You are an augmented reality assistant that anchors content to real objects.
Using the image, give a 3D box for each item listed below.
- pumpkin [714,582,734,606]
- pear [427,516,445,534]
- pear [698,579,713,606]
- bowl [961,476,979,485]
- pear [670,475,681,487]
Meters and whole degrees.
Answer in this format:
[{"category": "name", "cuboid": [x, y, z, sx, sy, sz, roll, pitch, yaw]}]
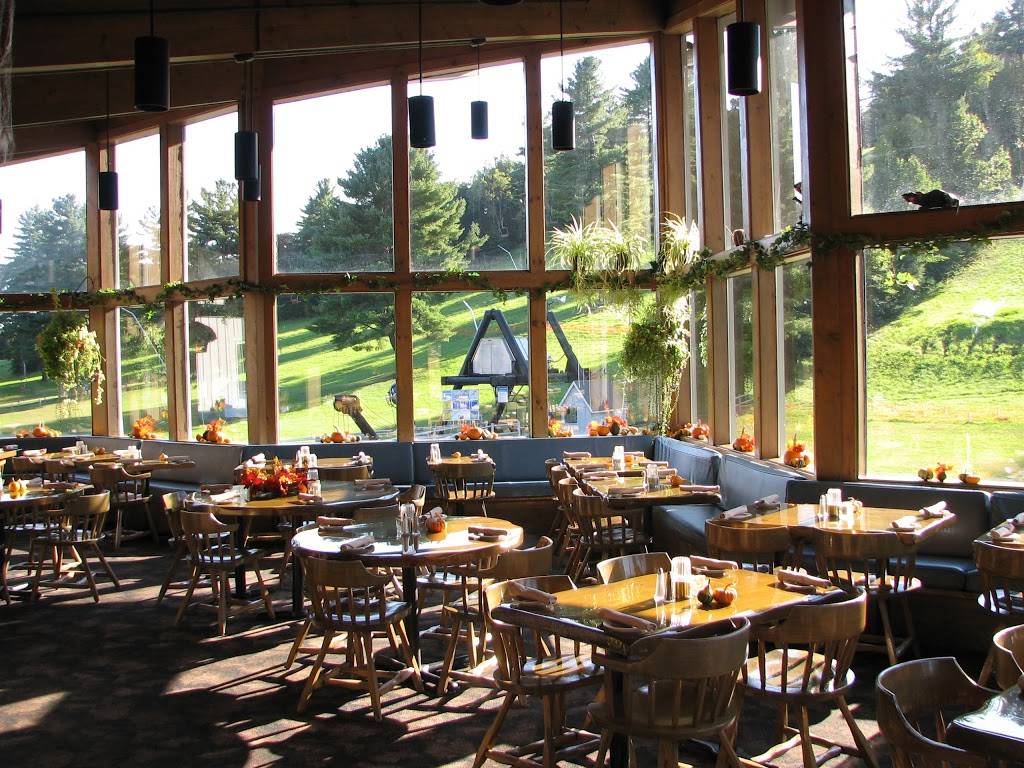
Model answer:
[{"category": "pumpkin", "cuboid": [1.125, 1.113, 5.257, 0.090, 0.112, 0.087, -4, 6, -18]}, {"category": "pear", "cuboid": [-0.499, 0.926, 6.530, 0.100, 0.092, 0.098, -8, -1, 1]}, {"category": "pear", "cuboid": [1.044, 1.108, 5.271, 0.095, 0.127, 0.092, 4, -5, -12]}, {"category": "bowl", "cuboid": [3.511, 0.730, 7.553, 0.080, 0.053, 0.078, 1, -5, 0]}, {"category": "pear", "cuboid": [1.349, 0.797, 8.185, 0.074, 0.084, 0.072, -1, -16, -2]}]
